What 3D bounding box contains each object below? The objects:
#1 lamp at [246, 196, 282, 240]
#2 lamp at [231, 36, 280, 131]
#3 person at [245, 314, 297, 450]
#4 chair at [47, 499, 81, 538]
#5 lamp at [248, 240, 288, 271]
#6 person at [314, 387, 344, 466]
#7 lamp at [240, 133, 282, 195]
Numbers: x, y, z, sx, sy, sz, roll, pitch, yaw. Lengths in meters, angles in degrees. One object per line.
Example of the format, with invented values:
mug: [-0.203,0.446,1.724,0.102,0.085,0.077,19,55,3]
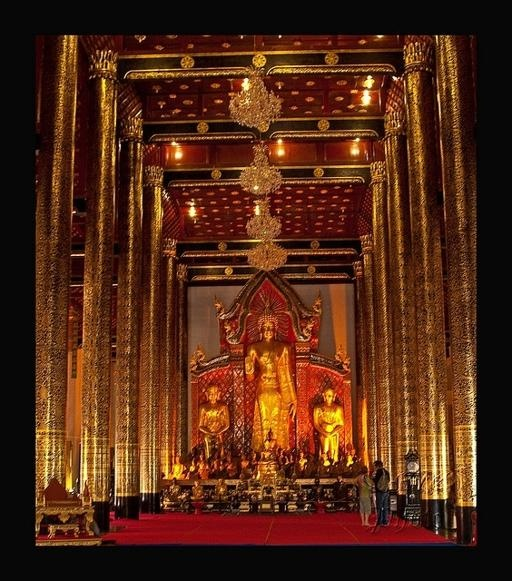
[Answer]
lamp: [0.091,-0.861,15.039,0.372,0.659,0.922,0,-10,0]
lamp: [0.028,-2.016,12.689,0.528,0.821,0.490,-12,25,-21]
person: [0.243,1.664,22.166,0.897,2.458,0.671,-4,-11,22]
chair: [-1.620,1.947,10.513,0.312,0.302,0.468,2,-10,-8]
lamp: [0.159,-0.439,15.768,0.391,0.406,0.531,4,-11,-20]
person: [1.277,2.375,21.499,0.541,1.455,0.341,3,31,9]
lamp: [0.048,-1.330,13.757,0.406,0.598,0.393,4,-5,-41]
